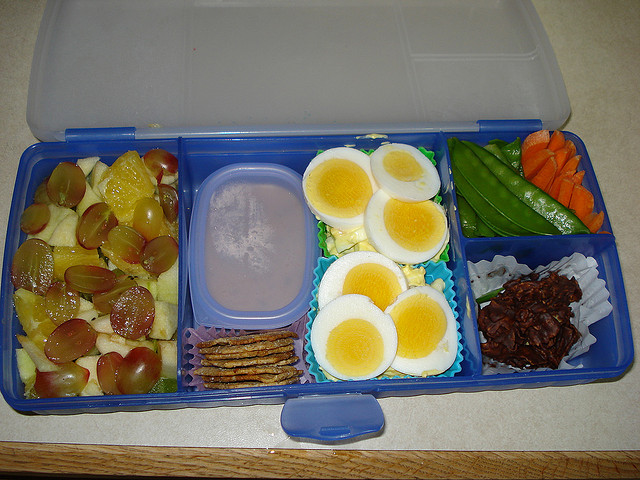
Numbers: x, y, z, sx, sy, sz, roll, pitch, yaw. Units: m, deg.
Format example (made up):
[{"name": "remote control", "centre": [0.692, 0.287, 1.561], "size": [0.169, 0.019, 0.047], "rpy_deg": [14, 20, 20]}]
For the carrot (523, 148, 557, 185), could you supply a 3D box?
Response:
[{"name": "carrot", "centre": [0.778, -0.266, 2.126], "size": [0.129, 0.030, 0.105], "rpy_deg": [-23, 116, -17]}]

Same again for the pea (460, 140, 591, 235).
[{"name": "pea", "centre": [0.731, -0.174, 2.072], "size": [0.451, 0.051, 0.074], "rpy_deg": [43, 96, 9]}]

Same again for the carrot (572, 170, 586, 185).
[{"name": "carrot", "centre": [0.919, -0.220, 2.074], "size": [0.031, 0.012, 0.052], "rpy_deg": [33, 98, 9]}]

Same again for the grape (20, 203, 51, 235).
[{"name": "grape", "centre": [-0.952, -0.071, 1.962], "size": [0.078, 0.033, 0.106], "rpy_deg": [29, 78, -24]}]

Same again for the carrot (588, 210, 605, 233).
[{"name": "carrot", "centre": [0.949, -0.058, 2.005], "size": [0.042, 0.015, 0.067], "rpy_deg": [36, 119, 34]}]

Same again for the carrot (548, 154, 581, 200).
[{"name": "carrot", "centre": [0.875, -0.233, 2.093], "size": [0.051, 0.066, 0.273], "rpy_deg": [18, 64, 29]}]

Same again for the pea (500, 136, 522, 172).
[{"name": "pea", "centre": [0.711, -0.318, 2.180], "size": [0.074, 0.028, 0.120], "rpy_deg": [-19, 89, -1]}]

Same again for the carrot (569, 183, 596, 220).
[{"name": "carrot", "centre": [0.918, -0.133, 2.047], "size": [0.107, 0.025, 0.105], "rpy_deg": [28, 88, -4]}]

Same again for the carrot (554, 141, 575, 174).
[{"name": "carrot", "centre": [0.879, -0.296, 2.098], "size": [0.026, 0.102, 0.100], "rpy_deg": [10, 55, 19]}]

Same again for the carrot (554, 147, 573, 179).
[{"name": "carrot", "centre": [0.877, -0.276, 2.088], "size": [0.062, 0.025, 0.099], "rpy_deg": [2, 97, 5]}]

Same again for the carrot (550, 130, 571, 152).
[{"name": "carrot", "centre": [0.871, -0.354, 2.117], "size": [0.064, 0.034, 0.058], "rpy_deg": [41, 70, -26]}]

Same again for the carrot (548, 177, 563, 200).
[{"name": "carrot", "centre": [0.842, -0.183, 2.084], "size": [0.034, 0.040, 0.095], "rpy_deg": [14, 121, 11]}]

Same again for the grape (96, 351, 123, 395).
[{"name": "grape", "centre": [-0.657, 0.416, 1.841], "size": [0.084, 0.037, 0.118], "rpy_deg": [-9, 85, -2]}]

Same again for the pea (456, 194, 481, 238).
[{"name": "pea", "centre": [0.529, -0.078, 2.062], "size": [0.051, 0.029, 0.178], "rpy_deg": [-10, 70, 0]}]

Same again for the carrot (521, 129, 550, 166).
[{"name": "carrot", "centre": [0.784, -0.351, 2.124], "size": [0.073, 0.038, 0.148], "rpy_deg": [25, 98, 26]}]

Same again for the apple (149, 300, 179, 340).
[{"name": "apple", "centre": [-0.514, 0.265, 1.931], "size": [0.119, 0.048, 0.121], "rpy_deg": [9, 80, -12]}]

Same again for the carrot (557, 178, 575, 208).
[{"name": "carrot", "centre": [0.869, -0.167, 2.062], "size": [0.025, 0.047, 0.095], "rpy_deg": [0, 102, -36]}]

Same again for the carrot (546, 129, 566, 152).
[{"name": "carrot", "centre": [0.853, -0.356, 2.115], "size": [0.055, 0.039, 0.073], "rpy_deg": [48, 119, 50]}]

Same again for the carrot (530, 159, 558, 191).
[{"name": "carrot", "centre": [0.809, -0.230, 2.095], "size": [0.031, 0.056, 0.112], "rpy_deg": [24, 83, 48]}]

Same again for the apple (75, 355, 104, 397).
[{"name": "apple", "centre": [-0.728, 0.432, 1.863], "size": [0.087, 0.052, 0.130], "rpy_deg": [-10, 79, -3]}]
